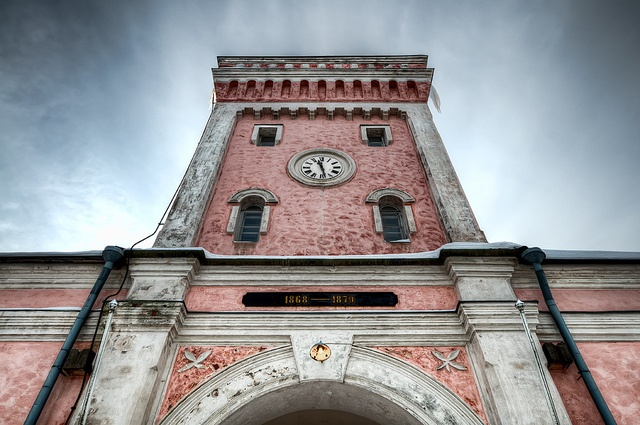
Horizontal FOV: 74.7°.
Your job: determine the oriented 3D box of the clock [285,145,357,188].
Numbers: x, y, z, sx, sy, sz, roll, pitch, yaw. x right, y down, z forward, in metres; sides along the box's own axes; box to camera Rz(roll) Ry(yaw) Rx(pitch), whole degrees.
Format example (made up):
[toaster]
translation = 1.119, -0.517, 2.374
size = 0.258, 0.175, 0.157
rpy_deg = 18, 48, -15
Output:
[clock]
translation = 0.019, -1.555, 14.827
size = 2.383, 2.236, 0.237
rpy_deg = 1, -53, -2
